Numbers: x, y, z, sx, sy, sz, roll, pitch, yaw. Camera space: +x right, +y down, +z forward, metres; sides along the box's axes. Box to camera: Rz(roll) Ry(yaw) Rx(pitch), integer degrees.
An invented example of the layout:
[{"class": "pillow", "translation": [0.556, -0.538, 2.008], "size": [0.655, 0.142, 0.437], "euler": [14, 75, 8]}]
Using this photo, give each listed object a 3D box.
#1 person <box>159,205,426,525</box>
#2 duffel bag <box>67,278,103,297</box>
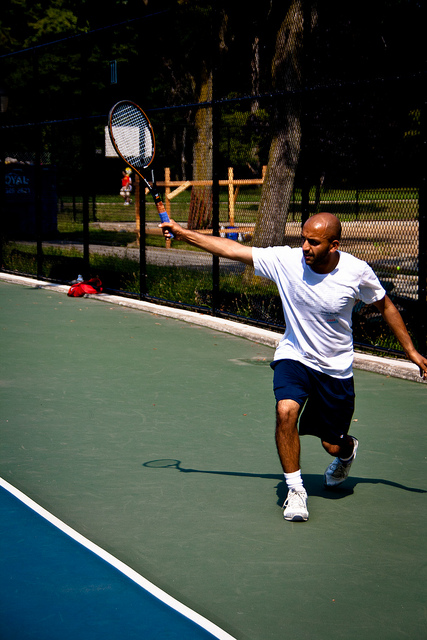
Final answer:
[{"class": "person", "translation": [0.534, 0.246, 3.803], "size": [1.141, 1.619, 0.523], "euler": [-1, 7, -16]}, {"class": "duffel bag", "translation": [-2.363, -0.578, 12.693], "size": [0.371, 0.199, 0.485], "euler": [-4, 9, 34]}]
